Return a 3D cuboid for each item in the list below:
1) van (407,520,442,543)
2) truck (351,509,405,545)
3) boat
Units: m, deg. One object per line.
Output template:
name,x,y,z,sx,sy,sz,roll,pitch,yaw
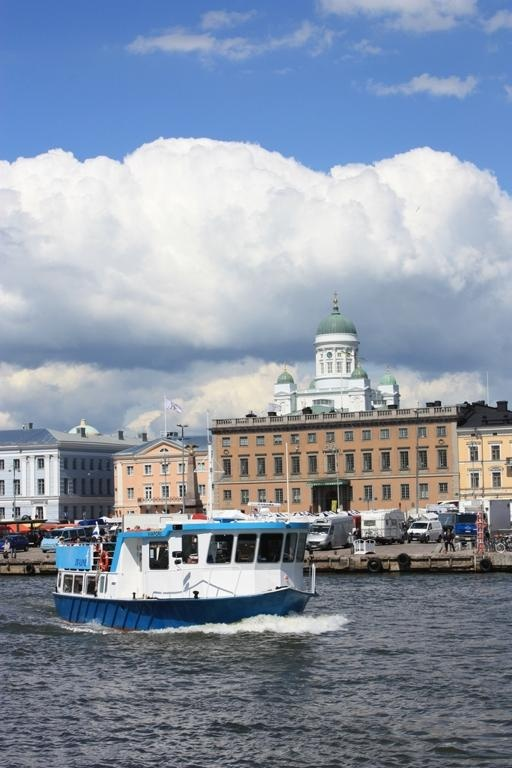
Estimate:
van,10.359,9.024,103.152,2.065,1.530,3.548,-3,-7,6
truck,7.433,8.655,102.142,1.595,1.605,3.041,-3,-9,24
boat,-2.540,5.909,53.562,7.808,3.080,3.563,-6,-11,41
